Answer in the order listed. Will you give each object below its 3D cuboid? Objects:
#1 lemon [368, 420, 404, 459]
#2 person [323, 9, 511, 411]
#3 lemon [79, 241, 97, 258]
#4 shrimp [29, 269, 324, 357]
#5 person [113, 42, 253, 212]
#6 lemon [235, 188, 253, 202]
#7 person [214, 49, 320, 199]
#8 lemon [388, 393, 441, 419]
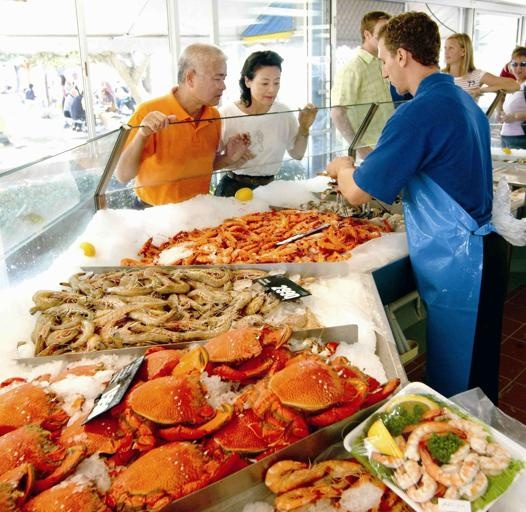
[{"bbox_3d":[0.198,0.294,0.685,0.075,0.025,0.071,5,10,31],"label":"lemon"},{"bbox_3d":[0.682,-0.124,1.699,0.682,1.588,0.405,7,26,26],"label":"person"},{"bbox_3d":[-0.663,-0.023,1.575,0.060,0.056,0.050,-14,23,-26],"label":"lemon"},{"bbox_3d":[-0.323,0.140,1.242,0.624,0.078,0.285,-3,17,-15],"label":"shrimp"},{"bbox_3d":[-0.462,-0.591,2.034,0.585,0.815,0.466,-7,24,-29],"label":"person"},{"bbox_3d":[-0.093,-0.305,2.101,0.094,0.058,0.063,-15,-21,-14],"label":"lemon"},{"bbox_3d":[-0.060,-0.699,2.240,0.557,0.869,0.478,-13,27,-38],"label":"person"},{"bbox_3d":[0.271,0.259,0.723,0.063,0.023,0.082,6,9,43],"label":"lemon"}]
